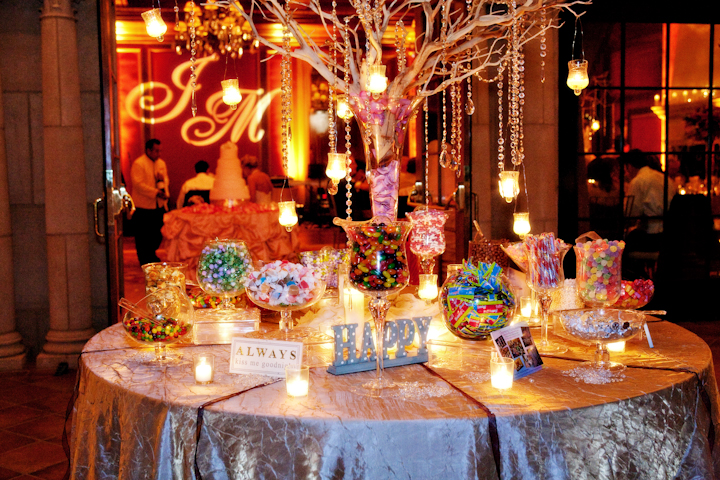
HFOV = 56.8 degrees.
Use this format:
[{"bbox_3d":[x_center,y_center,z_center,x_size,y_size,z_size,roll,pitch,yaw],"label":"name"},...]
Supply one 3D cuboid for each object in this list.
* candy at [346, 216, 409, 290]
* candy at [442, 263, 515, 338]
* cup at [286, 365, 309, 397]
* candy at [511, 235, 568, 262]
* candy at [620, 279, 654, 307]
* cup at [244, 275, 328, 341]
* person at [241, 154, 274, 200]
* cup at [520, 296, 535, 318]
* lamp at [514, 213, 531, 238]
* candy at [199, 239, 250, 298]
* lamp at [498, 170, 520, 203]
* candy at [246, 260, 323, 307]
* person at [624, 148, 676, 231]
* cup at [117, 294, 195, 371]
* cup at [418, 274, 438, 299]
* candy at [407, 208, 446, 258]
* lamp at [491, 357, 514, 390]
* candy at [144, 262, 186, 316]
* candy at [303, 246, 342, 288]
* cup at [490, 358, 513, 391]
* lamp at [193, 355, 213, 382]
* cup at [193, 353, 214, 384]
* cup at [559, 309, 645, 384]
[{"bbox_3d":[0.070,0.062,2.751,0.262,0.269,0.264,-1,-3,-18],"label":"candy"},{"bbox_3d":[0.501,0.285,3.132,0.313,0.374,0.328,1,-4,-6],"label":"candy"},{"bbox_3d":[-0.243,0.561,2.664,0.096,0.107,0.099,1,10,0],"label":"cup"},{"bbox_3d":[0.871,0.040,3.242,0.200,0.100,0.213,-2,0,9],"label":"candy"},{"bbox_3d":[1.360,0.269,3.273,0.143,0.105,0.155,1,-9,3],"label":"candy"},{"bbox_3d":[-0.340,0.319,3.193,0.309,0.202,0.317,2,7,0],"label":"cup"},{"bbox_3d":[-1.596,-0.939,10.288,0.392,0.617,1.664,-4,13,-10],"label":"person"},{"bbox_3d":[0.877,0.352,3.503,0.088,0.099,0.079,0,1,15],"label":"cup"},{"bbox_3d":[0.973,-0.081,4.000,0.081,0.173,0.277,1,13,11],"label":"lamp"},{"bbox_3d":[-0.680,0.136,3.321,0.262,0.281,0.287,1,6,-14],"label":"candy"},{"bbox_3d":[0.976,-0.356,4.339,0.115,0.230,0.373,1,13,11],"label":"lamp"},{"bbox_3d":[-0.324,0.195,2.882,0.232,0.132,0.233,-2,5,-27],"label":"candy"},{"bbox_3d":[2.825,-0.467,6.498,0.469,0.789,0.125,-3,13,-4],"label":"person"},{"bbox_3d":[-0.914,0.379,2.991,0.318,0.316,0.289,-5,5,0],"label":"cup"},{"bbox_3d":[0.376,0.258,3.744,0.122,0.130,0.123,2,3,0],"label":"cup"},{"bbox_3d":[0.353,-0.035,3.531,0.250,0.252,0.251,-2,-1,-10],"label":"candy"},{"bbox_3d":[0.574,0.532,2.683,0.110,0.126,0.112,2,0,10],"label":"lamp"},{"bbox_3d":[-0.929,0.235,3.169,0.163,0.251,0.173,6,12,27],"label":"candy"},{"bbox_3d":[-0.212,0.149,3.672,0.202,0.182,0.226,0,2,-1],"label":"candy"},{"bbox_3d":[0.573,0.533,2.695,0.111,0.124,0.114,3,2,0],"label":"cup"},{"bbox_3d":[-0.646,0.537,2.797,0.093,0.109,0.094,1,9,-4],"label":"lamp"},{"bbox_3d":[-0.645,0.536,2.800,0.099,0.116,0.099,2,5,0],"label":"cup"},{"bbox_3d":[1.045,0.408,2.848,0.314,0.243,0.292,-1,2,0],"label":"cup"}]
